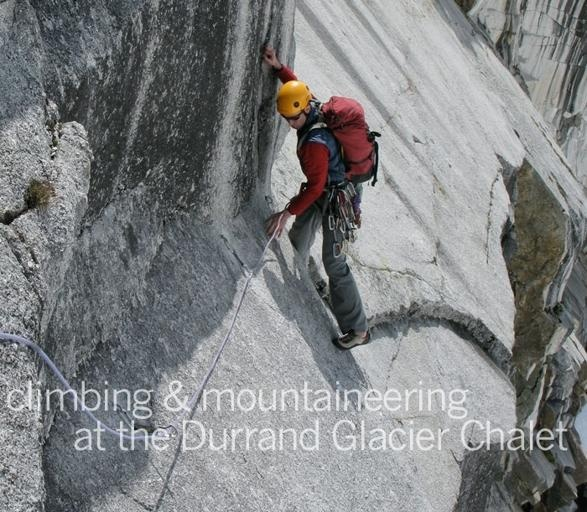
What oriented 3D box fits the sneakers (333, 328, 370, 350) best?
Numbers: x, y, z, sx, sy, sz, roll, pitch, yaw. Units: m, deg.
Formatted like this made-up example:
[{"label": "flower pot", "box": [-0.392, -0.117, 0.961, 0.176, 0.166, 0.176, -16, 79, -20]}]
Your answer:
[{"label": "sneakers", "box": [0.593, 0.914, 22.677, 0.424, 0.194, 0.182, -9, 61, 5]}]
